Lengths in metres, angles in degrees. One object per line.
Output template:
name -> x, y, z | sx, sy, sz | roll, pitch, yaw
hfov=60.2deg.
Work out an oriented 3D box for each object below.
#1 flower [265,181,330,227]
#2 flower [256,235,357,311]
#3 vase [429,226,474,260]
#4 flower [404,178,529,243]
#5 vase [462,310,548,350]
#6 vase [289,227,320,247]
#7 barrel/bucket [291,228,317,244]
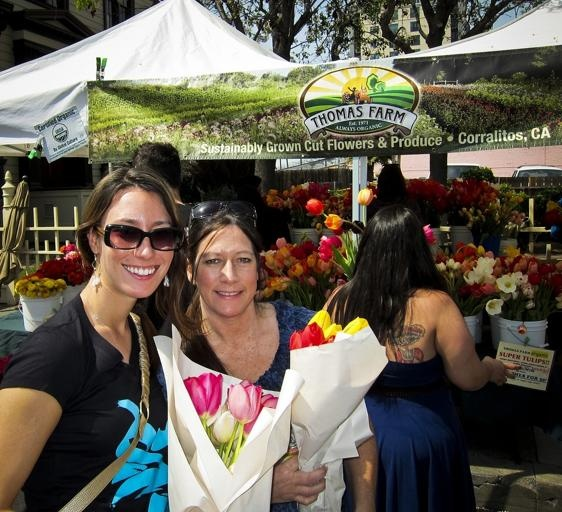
flower -> 0.212, -0.476, 5.164 | 0.485, 0.409, 0.528 | -8, -3, 10
flower -> 0.169, 0.116, 3.324 | 0.549, 0.609, 0.501 | 2, -4, -10
vase -> 1.418, -0.114, 4.010 | 0.305, 0.355, 0.299 | -1, 3, -40
flower -> 1.822, -0.650, 4.918 | 0.815, 0.615, 0.834 | 11, -11, 9
vase -> 1.412, 0.453, 3.016 | 0.342, 0.162, 0.305 | -1, -4, 26
vase -> 0.224, -0.203, 4.779 | 0.212, 0.173, 0.208 | 0, 1, 23
barrel/bucket -> 0.233, -0.215, 4.806 | 0.184, 0.165, 0.211 | 0, -3, 5
